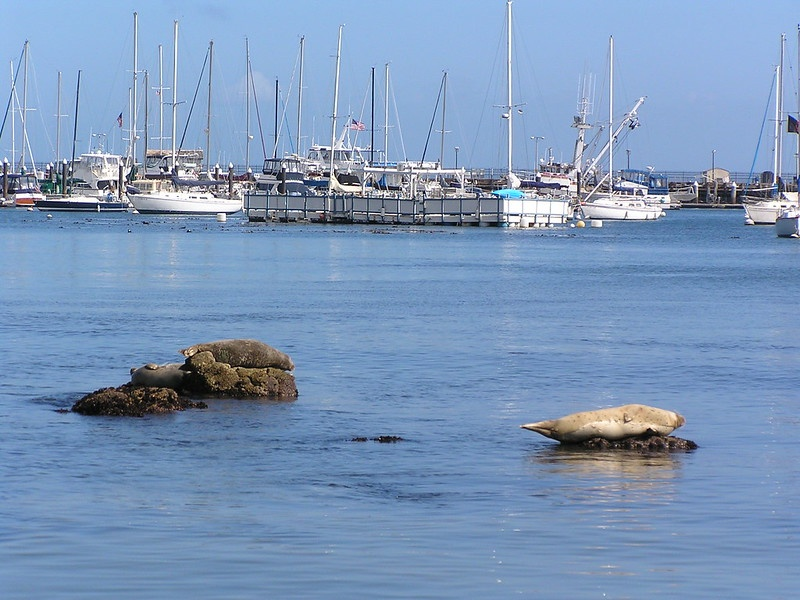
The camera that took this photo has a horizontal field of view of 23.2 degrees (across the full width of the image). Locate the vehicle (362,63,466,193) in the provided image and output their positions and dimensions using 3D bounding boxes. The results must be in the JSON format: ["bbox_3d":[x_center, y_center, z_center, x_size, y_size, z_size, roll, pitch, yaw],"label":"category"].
[{"bbox_3d":[0.531,-9.915,119.650,6.054,7.138,4.810,-4,7,-3],"label":"vehicle"}]

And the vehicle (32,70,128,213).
[{"bbox_3d":[-22.907,-11.267,143.654,10.047,9.970,3.466,5,3,22],"label":"vehicle"}]

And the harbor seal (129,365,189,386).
[{"bbox_3d":[-4.291,1.352,34.486,0.680,0.220,0.473,-1,10,1],"label":"harbor seal"}]
